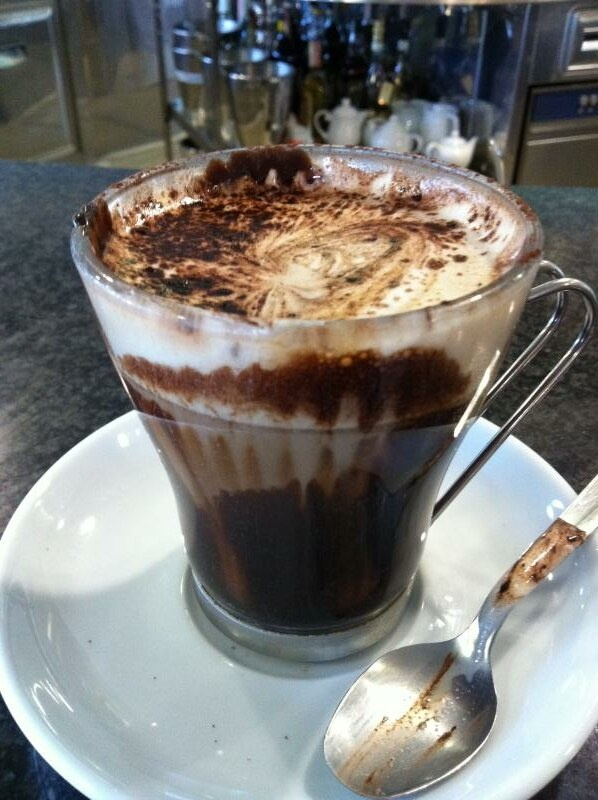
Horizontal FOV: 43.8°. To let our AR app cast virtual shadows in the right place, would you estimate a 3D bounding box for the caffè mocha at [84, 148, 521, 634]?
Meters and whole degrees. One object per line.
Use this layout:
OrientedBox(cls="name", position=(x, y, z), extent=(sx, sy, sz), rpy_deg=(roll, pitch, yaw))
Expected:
OrientedBox(cls="caffè mocha", position=(0.051, 0.008, 0.740), extent=(0.431, 0.357, 0.405), rpy_deg=(-4, 34, -4))
